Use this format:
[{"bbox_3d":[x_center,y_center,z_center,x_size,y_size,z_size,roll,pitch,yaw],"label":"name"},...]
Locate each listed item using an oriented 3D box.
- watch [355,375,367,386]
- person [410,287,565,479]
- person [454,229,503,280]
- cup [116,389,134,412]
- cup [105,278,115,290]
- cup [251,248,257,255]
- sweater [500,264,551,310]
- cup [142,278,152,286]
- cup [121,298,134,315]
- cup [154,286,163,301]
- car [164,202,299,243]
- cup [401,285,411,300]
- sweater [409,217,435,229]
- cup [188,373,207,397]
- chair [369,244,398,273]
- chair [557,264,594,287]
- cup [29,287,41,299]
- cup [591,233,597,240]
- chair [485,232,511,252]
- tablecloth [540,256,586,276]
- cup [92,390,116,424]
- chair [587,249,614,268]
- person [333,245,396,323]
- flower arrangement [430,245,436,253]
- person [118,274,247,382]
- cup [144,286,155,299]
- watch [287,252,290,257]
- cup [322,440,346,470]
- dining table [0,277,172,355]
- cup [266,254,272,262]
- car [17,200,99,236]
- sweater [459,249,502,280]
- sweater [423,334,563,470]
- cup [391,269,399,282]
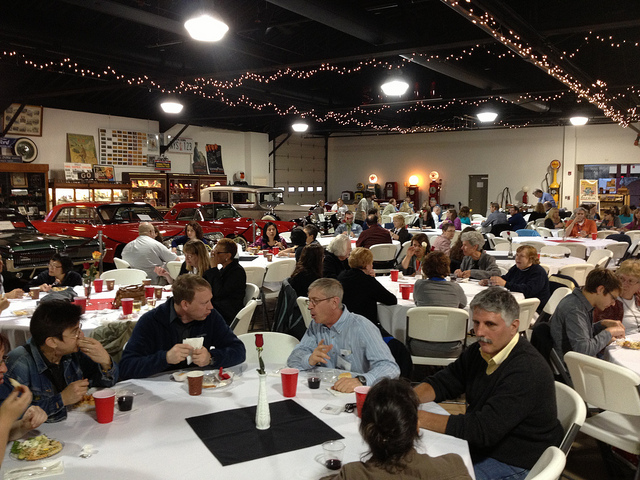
[{"bbox_3d":[0.264,0.890,2.712,0.041,0.043,0.046,-12,-38,30],"label":"watch"},{"bbox_3d":[1.093,0.818,2.970,1.153,1.229,0.925,-2,1,-9],"label":"person"},{"bbox_3d":[2.309,0.232,6.407,0.785,0.768,0.846,0,-1,0],"label":"person"},{"bbox_3d":[-1.104,0.896,2.386,0.107,0.102,0.114,0,-7,0],"label":"cup"},{"bbox_3d":[-2.587,0.555,5.292,0.127,0.120,0.124,0,0,0],"label":"cup"},{"bbox_3d":[-1.285,0.224,8.368,0.107,0.100,0.108,-1,1,0],"label":"cup"},{"bbox_3d":[2.632,0.568,5.668,0.733,0.675,0.633,1,-1,3],"label":"sweater"},{"bbox_3d":[-2.034,0.491,5.041,0.101,0.072,0.100,1,-2,0],"label":"cup"},{"bbox_3d":[-1.890,0.652,4.197,0.148,0.159,0.144,1,-4,0],"label":"cup"},{"bbox_3d":[-1.827,0.593,4.840,0.127,0.135,0.122,0,-2,0],"label":"cup"},{"bbox_3d":[-2.751,-0.595,12.998,3.385,1.127,1.667,1,8,8],"label":"car"},{"bbox_3d":[1.020,0.617,5.110,0.146,0.153,0.143,1,-3,0],"label":"cup"},{"bbox_3d":[3.294,-0.534,13.711,0.692,0.267,0.485,-4,0,-31],"label":"sweater"},{"bbox_3d":[-0.730,0.848,2.526,0.120,0.117,0.120,1,-3,0],"label":"cup"},{"bbox_3d":[1.221,0.345,8.326,0.460,0.633,0.465,-2,20,1],"label":"chair"},{"bbox_3d":[3.545,0.490,5.962,0.343,0.422,0.314,-5,19,-6],"label":"chair"},{"bbox_3d":[-3.210,0.605,4.834,0.119,0.113,0.116,0,-1,0],"label":"cup"},{"bbox_3d":[6.321,-0.092,9.888,0.131,0.153,0.131,-3,18,1],"label":"cup"},{"bbox_3d":[3.920,0.045,9.387,0.449,0.574,0.511,-1,7,20],"label":"chair"},{"bbox_3d":[4.162,0.383,7.359,0.507,0.118,0.496,-2,7,4],"label":"tablecloth"},{"bbox_3d":[-1.101,0.857,2.225,0.144,0.149,0.147,-2,-6,0],"label":"cup"},{"bbox_3d":[5.211,0.346,7.984,0.381,0.476,0.377,-2,0,-36],"label":"chair"},{"bbox_3d":[0.507,0.507,5.005,0.495,0.880,0.662,-28,28,-34],"label":"person"},{"bbox_3d":[1.873,0.150,7.114,0.064,0.139,0.058,-18,23,-35],"label":"flower arrangement"},{"bbox_3d":[-1.081,0.690,3.347,0.666,0.803,0.475,-6,8,-40],"label":"person"},{"bbox_3d":[-1.894,0.589,4.744,0.106,0.108,0.111,2,-1,0],"label":"cup"},{"bbox_3d":[-0.591,0.271,7.990,0.046,0.060,0.017,-1,-9,12],"label":"watch"},{"bbox_3d":[0.060,0.960,1.895,0.110,0.083,0.108,-3,-12,-1],"label":"cup"},{"bbox_3d":[-2.247,0.672,4.340,1.078,0.258,1.091,2,4,15],"label":"dining table"},{"bbox_3d":[-0.882,0.314,7.471,0.098,0.109,0.101,0,7,0],"label":"cup"},{"bbox_3d":[-6.190,-0.454,10.429,1.692,0.704,1.057,1,6,4],"label":"car"},{"bbox_3d":[2.349,0.401,6.300,0.415,0.471,0.581,8,-5,-18],"label":"sweater"},{"bbox_3d":[0.943,0.874,2.662,0.818,0.769,0.676,3,2,3],"label":"sweater"},{"bbox_3d":[1.042,0.515,6.016,0.123,0.154,0.129,-1,1,0],"label":"cup"}]
